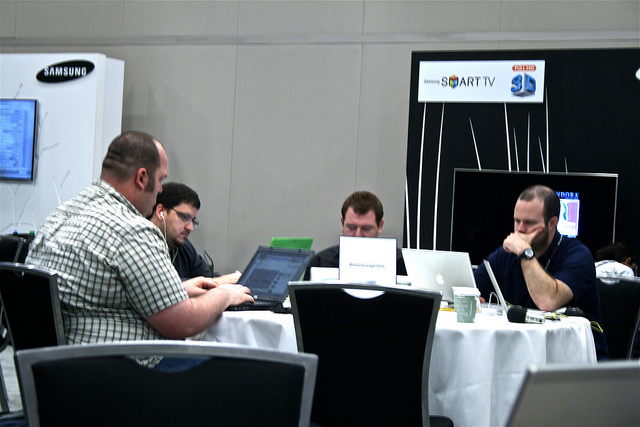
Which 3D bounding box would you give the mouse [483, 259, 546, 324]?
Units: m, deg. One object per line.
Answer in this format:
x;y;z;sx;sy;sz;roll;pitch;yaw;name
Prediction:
0.938;0.408;2.663;0.261;0.285;0.173;-3;0;-3;mouse

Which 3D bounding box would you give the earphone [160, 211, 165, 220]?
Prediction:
-0.976;0.009;3.305;0.031;0.046;0.021;3;3;38;earphone

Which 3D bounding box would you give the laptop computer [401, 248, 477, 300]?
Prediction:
0.612;0.289;2.787;0.350;0.256;0.261;4;19;38;laptop computer

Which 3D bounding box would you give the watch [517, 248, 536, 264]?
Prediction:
1.169;0.233;3.088;0.095;0.061;0.095;-29;-10;-22;watch

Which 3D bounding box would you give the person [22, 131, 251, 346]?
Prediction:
-0.825;0.089;2.379;0.908;0.897;0.406;0;2;-22;person

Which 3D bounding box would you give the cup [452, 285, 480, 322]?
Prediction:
0.667;0.416;2.494;0.128;0.150;0.134;0;-1;0;cup

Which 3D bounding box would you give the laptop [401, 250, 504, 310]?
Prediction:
0.682;0.296;2.858;0.363;0.289;0.416;3;-1;-44;laptop

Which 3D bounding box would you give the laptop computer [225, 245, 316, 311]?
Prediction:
-0.274;0.323;2.761;0.307;0.215;0.315;2;8;32;laptop computer

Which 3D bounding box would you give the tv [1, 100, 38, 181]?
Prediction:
-3.275;-0.799;5.857;0.762;0.899;0.058;3;1;21;tv
